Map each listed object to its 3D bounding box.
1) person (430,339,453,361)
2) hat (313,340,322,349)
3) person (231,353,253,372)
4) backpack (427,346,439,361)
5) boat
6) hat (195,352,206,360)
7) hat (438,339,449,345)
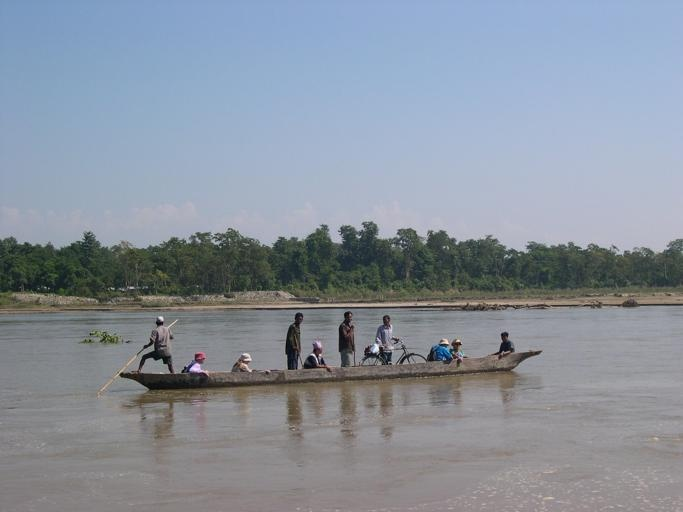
[{"bbox_3d":[4.352,4.180,57.070,1.099,0.989,0.827,-2,5,-40],"label":"person"},{"bbox_3d":[-1.073,3.864,55.253,0.476,0.348,0.328,5,10,26],"label":"hat"},{"bbox_3d":[-4.304,4.793,57.490,0.915,0.710,1.211,7,13,14],"label":"person"},{"bbox_3d":[3.988,4.340,57.073,0.478,0.589,0.599,-1,-3,-13],"label":"backpack"},{"bbox_3d":[-0.509,5.027,54.930,16.240,1.289,0.955,-3,9,-15],"label":"boat"},{"bbox_3d":[-5.865,4.306,54.778,0.586,0.217,0.741,0,-3,-6],"label":"hat"},{"bbox_3d":[4.443,3.755,57.017,0.458,0.182,0.580,1,-12,-4],"label":"hat"}]
